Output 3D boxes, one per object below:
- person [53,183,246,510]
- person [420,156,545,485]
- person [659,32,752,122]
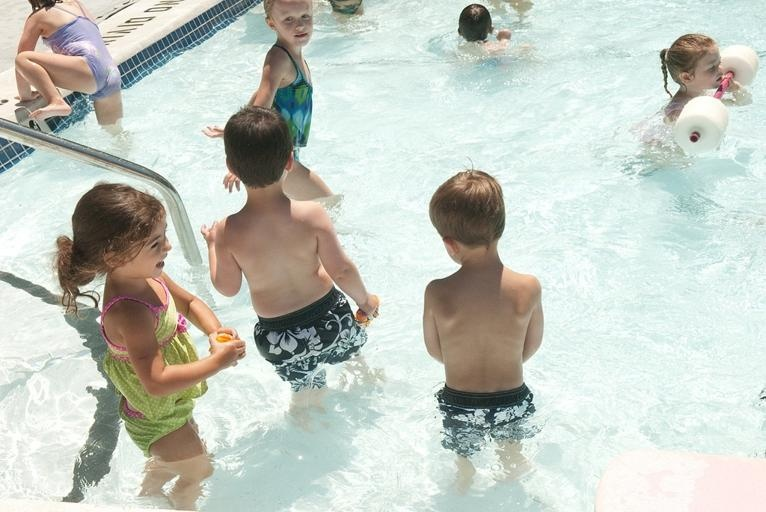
[{"bbox_3d":[-1.259,0.556,3.626,0.942,1.907,0.738,-6,44,-15],"label":"person"},{"bbox_3d":[0.570,0.506,3.742,0.681,1.815,0.643,3,23,15],"label":"person"},{"bbox_3d":[2.421,-1.379,5.319,0.896,0.653,0.466,-33,38,-27],"label":"person"}]
